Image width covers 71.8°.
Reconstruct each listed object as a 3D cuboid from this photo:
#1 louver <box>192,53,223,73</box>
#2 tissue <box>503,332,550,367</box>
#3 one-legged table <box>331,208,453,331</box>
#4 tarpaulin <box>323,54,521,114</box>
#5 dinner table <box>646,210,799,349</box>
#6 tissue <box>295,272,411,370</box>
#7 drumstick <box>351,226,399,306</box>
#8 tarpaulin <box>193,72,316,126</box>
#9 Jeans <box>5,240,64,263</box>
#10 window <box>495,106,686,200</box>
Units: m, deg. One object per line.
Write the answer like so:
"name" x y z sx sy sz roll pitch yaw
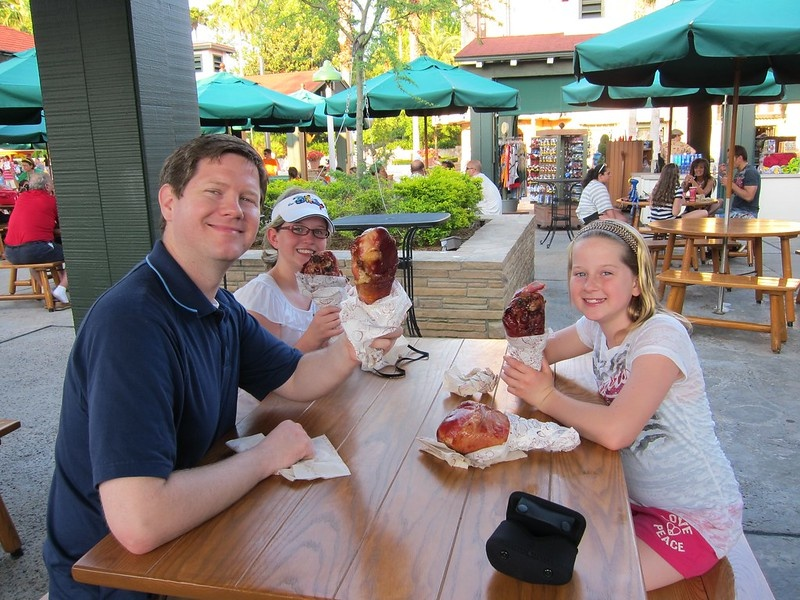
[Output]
"louver" -13.800 -17.102 39.849 1.731 1.635 2.295 -5 12 -20
"tissue" 0.477 0.185 2.032 0.133 0.144 0.136 -4 5 -9
"one-legged table" 0.002 -0.206 4.861 0.938 0.923 0.901 2 7 30
"tarpaulin" 0.488 -3.267 8.684 1.978 0.530 1.972 -4 13 -5
"dinner table" 3.862 -0.407 6.429 1.574 1.198 2.413 3 11 37
"tissue" -0.109 0.130 1.874 0.332 0.436 0.197 10 22 9
"drumstick" -0.079 -0.103 1.757 0.139 0.249 0.135 -2 12 -3
"tarpaulin" -2.419 -3.375 9.171 1.705 0.847 1.358 -5 12 -17
"Jeans" -5.086 -0.662 7.659 0.479 0.194 0.464 -2 6 15
"window" 4.919 -3.796 15.817 3.281 1.797 1.088 6 -3 1
